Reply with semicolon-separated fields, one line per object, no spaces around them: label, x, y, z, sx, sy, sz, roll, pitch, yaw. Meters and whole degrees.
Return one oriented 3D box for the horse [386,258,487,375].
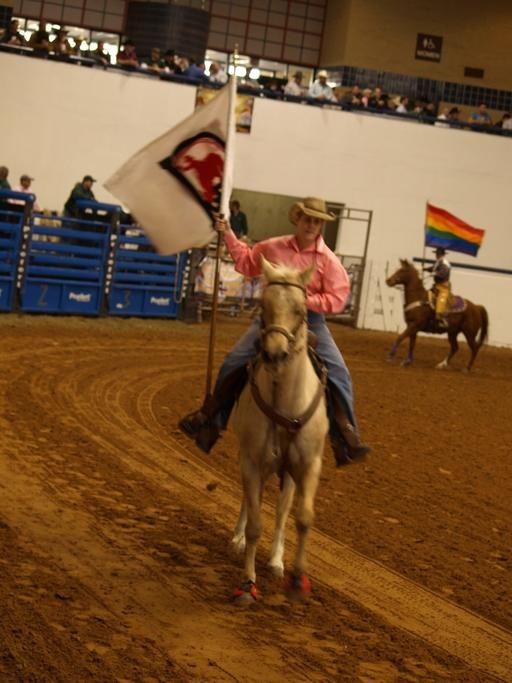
horse;4.703;-0.599;14.949;3.764;2.706;0.854;9;-2;-26

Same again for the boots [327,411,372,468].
boots;0.660;0.597;4.017;0.248;0.285;0.804;-27;0;16

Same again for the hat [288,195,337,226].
hat;0.335;-0.809;3.500;0.229;0.102;0.251;9;-18;6

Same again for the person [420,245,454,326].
person;4.605;-1.393;14.319;0.583;1.957;0.868;13;4;27
